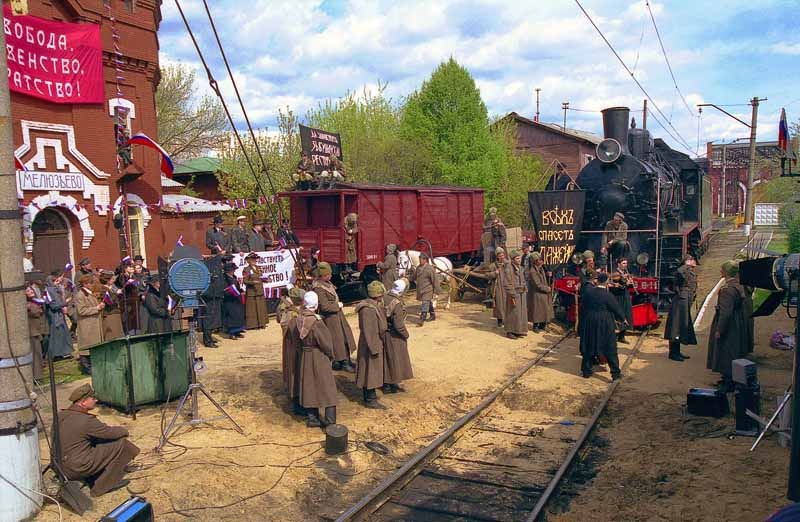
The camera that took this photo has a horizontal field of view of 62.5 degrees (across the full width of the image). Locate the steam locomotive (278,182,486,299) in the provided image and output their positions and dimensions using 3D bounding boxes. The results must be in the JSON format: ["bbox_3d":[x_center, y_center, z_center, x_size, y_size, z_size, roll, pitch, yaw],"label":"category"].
[{"bbox_3d":[0.053,-1.239,26.944,3.079,4.001,10.470,0,4,33],"label":"steam locomotive"}]

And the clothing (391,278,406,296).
[{"bbox_3d":[-0.051,0.641,16.024,0.417,0.325,0.230,-20,-5,-8],"label":"clothing"}]

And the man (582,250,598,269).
[{"bbox_3d":[5.701,-0.028,19.849,0.544,0.640,0.479,-2,5,12],"label":"man"}]

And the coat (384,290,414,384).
[{"bbox_3d":[-0.133,1.773,15.425,0.627,2.286,0.522,-5,4,-3],"label":"coat"}]

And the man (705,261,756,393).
[{"bbox_3d":[7.755,1.542,15.508,1.118,2.973,0.807,-6,4,-15],"label":"man"}]

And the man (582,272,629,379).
[{"bbox_3d":[4.997,1.659,16.533,1.000,2.650,0.569,-4,4,15],"label":"man"}]

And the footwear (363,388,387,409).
[{"bbox_3d":[-0.616,3.179,15.324,0.520,0.478,0.410,-5,4,-3],"label":"footwear"}]

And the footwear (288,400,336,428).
[{"bbox_3d":[-1.899,3.413,14.575,0.693,0.268,0.680,4,2,-27],"label":"footwear"}]

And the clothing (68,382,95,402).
[{"bbox_3d":[-5.983,2.492,12.483,0.337,0.171,0.400,4,12,23],"label":"clothing"}]

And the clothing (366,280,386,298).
[{"bbox_3d":[-0.551,0.660,15.230,0.367,0.296,0.379,-2,2,6],"label":"clothing"}]

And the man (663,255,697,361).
[{"bbox_3d":[7.425,1.292,17.462,0.791,2.676,0.899,-3,4,23],"label":"man"}]

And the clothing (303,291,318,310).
[{"bbox_3d":[-1.923,0.860,14.082,0.313,0.416,0.332,-6,4,-14],"label":"clothing"}]

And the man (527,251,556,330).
[{"bbox_3d":[4.302,0.955,20.380,0.742,2.446,1.475,-4,4,15],"label":"man"}]

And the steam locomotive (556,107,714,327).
[{"bbox_3d":[10.129,-2.154,27.388,4.379,6.122,14.368,3,9,30],"label":"steam locomotive"}]

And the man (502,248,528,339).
[{"bbox_3d":[3.367,1.048,19.485,0.686,2.535,0.513,-5,4,-1],"label":"man"}]
